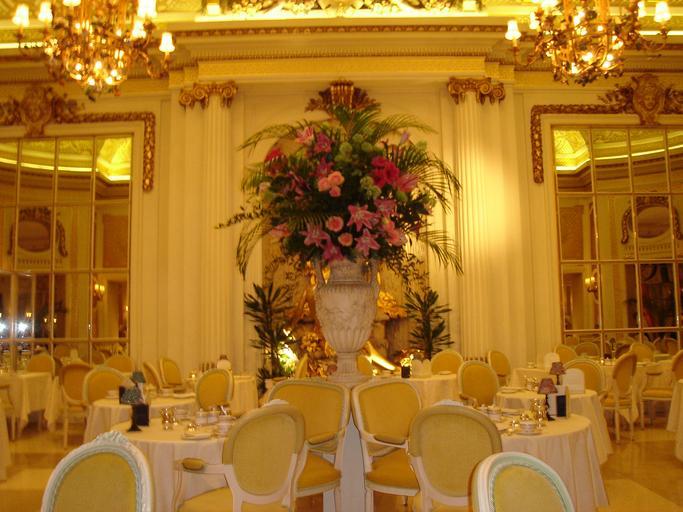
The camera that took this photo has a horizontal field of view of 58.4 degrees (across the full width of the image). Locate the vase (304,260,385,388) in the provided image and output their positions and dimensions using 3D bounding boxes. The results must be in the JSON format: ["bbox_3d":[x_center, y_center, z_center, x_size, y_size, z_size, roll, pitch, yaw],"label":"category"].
[{"bbox_3d":[0.046,0.473,4.887,0.529,1.082,0.455,-1,-3,6],"label":"vase"}]

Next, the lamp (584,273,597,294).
[{"bbox_3d":[4.062,0.442,9.894,0.206,0.288,0.058,2,-7,-19],"label":"lamp"}]
